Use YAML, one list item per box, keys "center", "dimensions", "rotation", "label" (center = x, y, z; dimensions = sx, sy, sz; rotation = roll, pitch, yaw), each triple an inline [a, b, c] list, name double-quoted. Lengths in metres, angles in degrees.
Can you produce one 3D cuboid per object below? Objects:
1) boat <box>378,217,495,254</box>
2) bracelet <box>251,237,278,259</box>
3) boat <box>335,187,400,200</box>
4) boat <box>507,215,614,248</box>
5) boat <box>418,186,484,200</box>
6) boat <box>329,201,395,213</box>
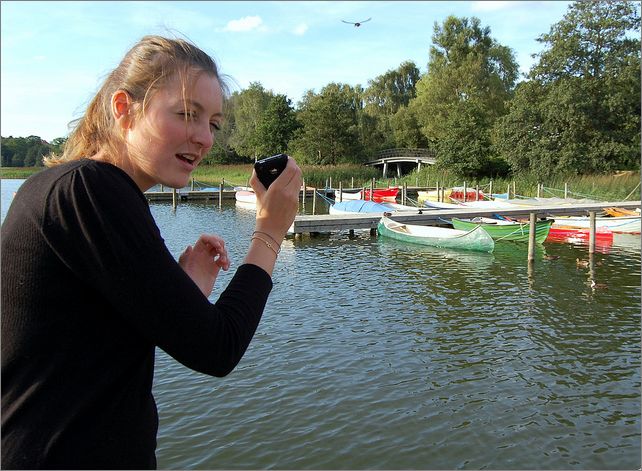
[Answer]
- center: [3.694, 0.006, 18.795]
  dimensions: [1.095, 1.013, 5.052]
  rotation: [-8, 13, -41]
  label: "boat"
- center: [-0.179, 0.031, 1.878]
  dimensions: [0.075, 0.023, 0.071]
  rotation: [35, -8, 27]
  label: "bracelet"
- center: [2.825, -2.642, 36.826]
  dimensions: [4.678, 0.841, 1.552]
  rotation: [3, 6, 32]
  label: "boat"
- center: [8.537, -0.127, 20.244]
  dimensions: [3.652, 0.930, 0.914]
  rotation: [6, 9, 40]
  label: "boat"
- center: [8.654, -2.724, 37.807]
  dimensions: [4.339, 0.810, 3.816]
  rotation: [4, 10, 26]
  label: "boat"
- center: [1.637, -1.256, 25.758]
  dimensions: [1.002, 0.690, 3.013]
  rotation: [-7, 8, -39]
  label: "boat"
